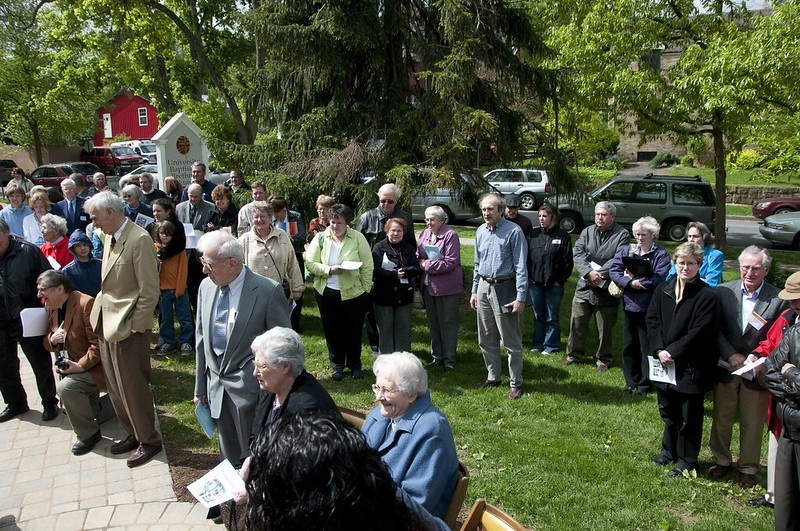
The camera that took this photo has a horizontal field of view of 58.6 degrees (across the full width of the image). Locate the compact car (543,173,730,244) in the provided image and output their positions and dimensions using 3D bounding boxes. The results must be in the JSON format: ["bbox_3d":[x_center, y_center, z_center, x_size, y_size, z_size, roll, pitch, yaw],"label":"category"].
[{"bbox_3d":[6.732,-1.128,21.785,5.428,2.728,2.865,5,10,14],"label":"compact car"}]

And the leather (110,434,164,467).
[{"bbox_3d":[-3.727,2.545,9.985,0.526,0.276,0.744,19,12,9],"label":"leather"}]

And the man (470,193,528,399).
[{"bbox_3d":[1.537,0.468,11.188,0.911,3.146,0.611,1,6,22],"label":"man"}]

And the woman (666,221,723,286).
[{"bbox_3d":[4.671,-0.096,11.239,0.604,1.107,0.703,-8,4,-32],"label":"woman"}]

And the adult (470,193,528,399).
[{"bbox_3d":[1.540,0.468,11.194,0.913,3.146,0.618,1,6,23],"label":"adult"}]

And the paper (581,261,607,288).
[{"bbox_3d":[3.228,0.169,11.838,0.284,0.417,0.150,4,-9,40],"label":"paper"}]

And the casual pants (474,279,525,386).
[{"bbox_3d":[1.551,1.055,11.306,0.732,1.800,0.504,5,12,32],"label":"casual pants"}]

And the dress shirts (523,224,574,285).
[{"bbox_3d":[2.624,-0.167,12.707,0.819,1.062,0.522,2,3,23],"label":"dress shirts"}]

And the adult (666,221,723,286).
[{"bbox_3d":[4.644,-0.091,11.211,0.705,1.112,0.702,-4,3,22],"label":"adult"}]

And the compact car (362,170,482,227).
[{"bbox_3d":[0.403,-1.322,14.181,2.758,1.063,1.363,2,7,4],"label":"compact car"}]

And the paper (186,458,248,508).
[{"bbox_3d":[-2.076,2.437,7.963,0.601,0.655,0.140,-42,46,-3],"label":"paper"}]

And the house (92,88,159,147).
[{"bbox_3d":[-21.297,-11.618,56.340,3.248,1.941,3.367,-16,8,32],"label":"house"}]
